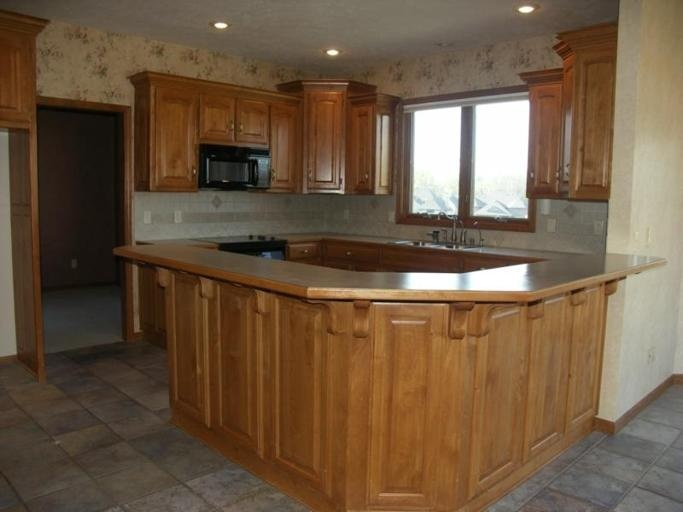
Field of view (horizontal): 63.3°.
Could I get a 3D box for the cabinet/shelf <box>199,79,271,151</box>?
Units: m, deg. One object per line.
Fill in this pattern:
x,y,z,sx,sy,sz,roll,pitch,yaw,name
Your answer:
-1.194,-1.488,5.936,0.883,0.607,0.329,-7,15,-44,cabinet/shelf

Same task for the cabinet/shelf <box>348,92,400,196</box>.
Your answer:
0.343,-1.284,6.360,0.595,1.124,0.362,2,13,5,cabinet/shelf

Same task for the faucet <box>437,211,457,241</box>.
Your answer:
1.162,-0.312,6.000,0.193,0.303,0.361,3,12,10,faucet

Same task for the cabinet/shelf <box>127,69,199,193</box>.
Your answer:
-1.738,-1.220,5.502,0.661,1.135,0.406,-2,13,-13,cabinet/shelf

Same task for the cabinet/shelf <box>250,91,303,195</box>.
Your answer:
-0.648,-1.263,6.304,0.538,1.102,0.174,9,14,28,cabinet/shelf

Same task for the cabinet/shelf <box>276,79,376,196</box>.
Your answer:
-0.188,-1.374,6.324,1.354,1.549,0.811,-1,4,-27,cabinet/shelf

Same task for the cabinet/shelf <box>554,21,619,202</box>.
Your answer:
1.917,-1.097,4.316,0.309,1.317,0.771,-2,13,-14,cabinet/shelf

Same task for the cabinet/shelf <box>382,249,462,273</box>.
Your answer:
0.779,0.051,5.553,0.142,0.275,0.911,-10,15,-40,cabinet/shelf

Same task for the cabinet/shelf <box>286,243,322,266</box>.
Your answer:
-0.414,-0.026,6.257,0.100,0.274,0.514,11,15,37,cabinet/shelf
